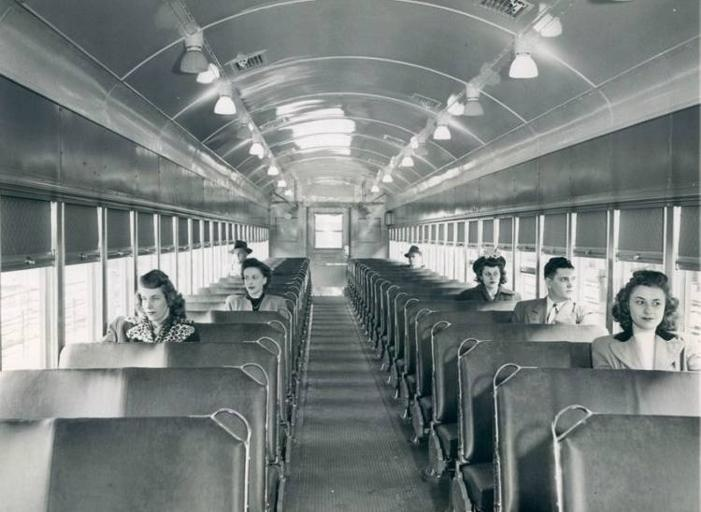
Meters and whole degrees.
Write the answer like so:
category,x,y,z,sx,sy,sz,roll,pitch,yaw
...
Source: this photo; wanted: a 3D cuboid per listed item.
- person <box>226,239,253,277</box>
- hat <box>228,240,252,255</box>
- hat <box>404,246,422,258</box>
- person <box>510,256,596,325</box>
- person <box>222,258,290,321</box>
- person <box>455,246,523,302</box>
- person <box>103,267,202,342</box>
category,x,y,z,sx,sy,sz,roll,pitch,yaw
person,-2.341,0.069,12.597,0.693,0.805,0.694,2,-13,-5
hat,-2.375,-0.185,13.052,0.380,0.273,1.358,-1,3,-14
hat,1.665,-0.104,16.039,0.291,0.316,0.748,0,3,1
person,2.416,0.446,7.204,0.906,0.840,0.453,4,12,-3
person,-1.331,0.461,8.471,0.826,0.886,0.395,0,8,5
person,2.011,0.272,8.746,0.758,0.767,0.455,-1,19,13
person,-2.038,0.546,6.220,0.880,0.849,0.457,1,14,-5
